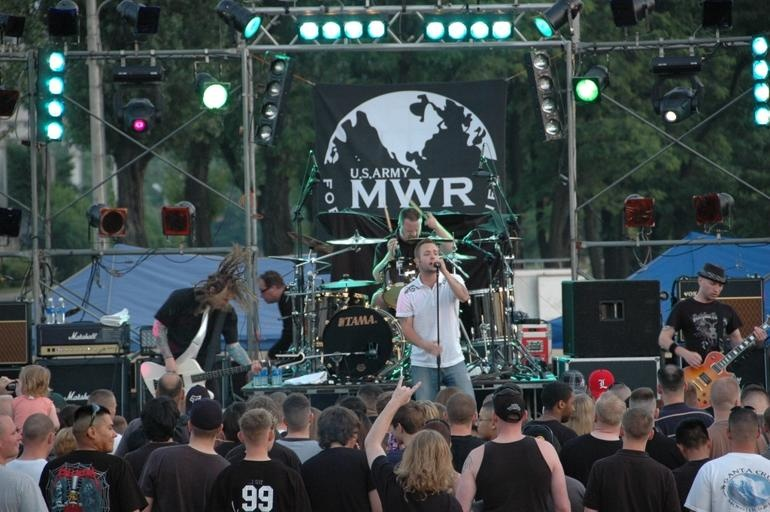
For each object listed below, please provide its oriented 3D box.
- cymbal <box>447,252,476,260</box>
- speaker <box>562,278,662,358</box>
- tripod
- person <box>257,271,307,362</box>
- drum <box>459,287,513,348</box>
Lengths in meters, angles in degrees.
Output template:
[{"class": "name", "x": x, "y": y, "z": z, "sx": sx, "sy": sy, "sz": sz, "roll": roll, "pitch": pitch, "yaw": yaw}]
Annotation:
[{"class": "cymbal", "x": 1.454, "y": 0.041, "z": 43.785, "sx": 0.357, "sy": 0.101, "sz": 0.248, "roll": 3, "pitch": 0, "yaw": -6}, {"class": "speaker", "x": 4.353, "y": 1.312, "z": 44.329, "sx": 2.609, "sy": 2.076, "sz": 1.356, "roll": 0, "pitch": -5, "yaw": -4}, {"class": "tripod", "x": 2.375, "y": 1.120, "z": 43.586, "sx": 1.576, "sy": 2.515, "sz": 1.269, "roll": -1, "pitch": 8, "yaw": 3}, {"class": "person", "x": -2.085, "y": 1.610, "z": 45.819, "sx": 1.013, "sy": 2.638, "sz": 1.180, "roll": -2, "pitch": 14, "yaw": -7}, {"class": "drum", "x": 2.198, "y": 1.184, "z": 43.978, "sx": 0.923, "sy": 0.953, "sz": 0.954, "roll": -7, "pitch": -4, "yaw": 30}]
